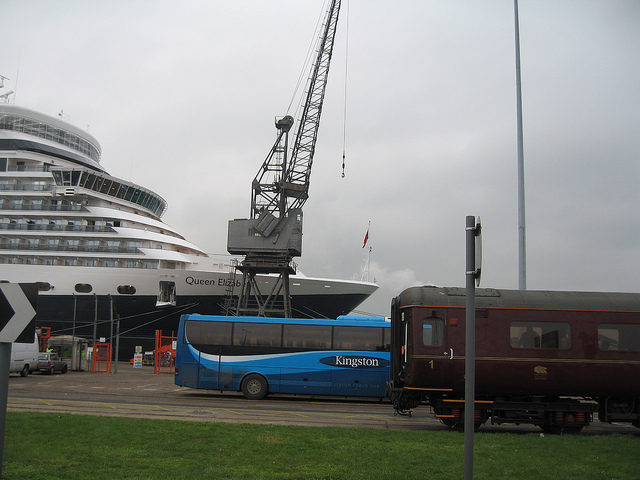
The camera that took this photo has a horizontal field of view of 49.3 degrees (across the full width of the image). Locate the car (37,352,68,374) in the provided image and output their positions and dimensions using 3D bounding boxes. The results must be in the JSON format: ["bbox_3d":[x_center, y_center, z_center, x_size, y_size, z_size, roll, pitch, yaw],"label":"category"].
[{"bbox_3d":[-14.533,6.581,37.556,0.903,0.761,1.565,-1,-2,19],"label":"car"}]

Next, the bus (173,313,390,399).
[{"bbox_3d":[-0.580,5.211,28.483,11.379,3.502,3.147,6,-31,-21],"label":"bus"}]
